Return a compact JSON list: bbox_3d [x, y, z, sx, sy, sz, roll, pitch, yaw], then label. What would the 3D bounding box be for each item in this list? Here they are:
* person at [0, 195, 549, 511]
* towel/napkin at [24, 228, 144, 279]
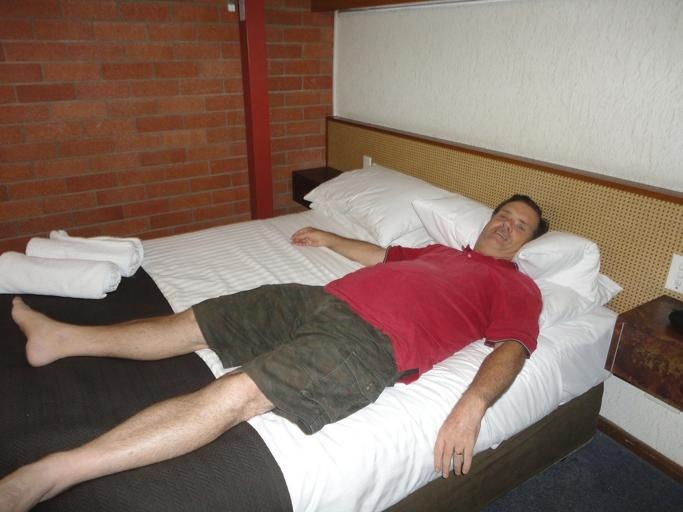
[{"bbox_3d":[-0.174,0.352,1.874,1.551,0.408,1.144,-12,39,-33],"label":"person"},{"bbox_3d":[-1.345,-0.035,2.532,0.380,0.151,0.314,-1,15,-22],"label":"towel/napkin"}]
